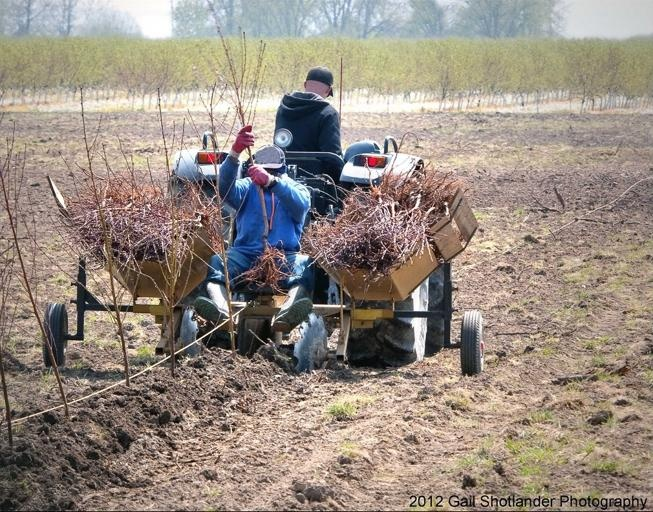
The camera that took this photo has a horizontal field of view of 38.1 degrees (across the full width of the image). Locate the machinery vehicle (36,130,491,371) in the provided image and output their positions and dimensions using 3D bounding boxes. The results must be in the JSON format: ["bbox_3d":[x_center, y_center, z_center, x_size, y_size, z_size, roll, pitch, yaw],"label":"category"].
[{"bbox_3d":[-0.410,-0.034,8.900,3.725,1.784,3.641,4,15,3],"label":"machinery vehicle"}]

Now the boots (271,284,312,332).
[{"bbox_3d":[-0.268,0.448,8.170,0.286,0.356,0.470,1,7,15],"label":"boots"}]

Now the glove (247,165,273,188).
[{"bbox_3d":[-0.586,-0.710,8.403,0.192,0.203,0.241,-3,7,-18],"label":"glove"}]

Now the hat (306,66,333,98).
[{"bbox_3d":[-0.035,-1.923,10.122,0.241,0.319,0.345,13,-10,13],"label":"hat"}]
